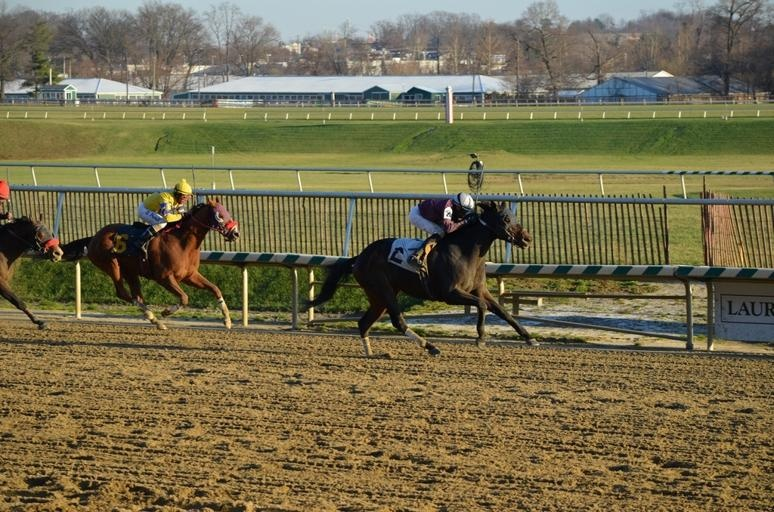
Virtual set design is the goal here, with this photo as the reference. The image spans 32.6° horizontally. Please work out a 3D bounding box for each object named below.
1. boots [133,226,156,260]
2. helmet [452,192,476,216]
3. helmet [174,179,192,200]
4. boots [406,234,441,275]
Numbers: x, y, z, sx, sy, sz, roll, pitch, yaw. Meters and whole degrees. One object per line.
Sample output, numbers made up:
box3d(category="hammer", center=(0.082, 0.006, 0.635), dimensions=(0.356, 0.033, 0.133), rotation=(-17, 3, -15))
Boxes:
box3d(category="boots", center=(-5.104, -0.267, 27.465), dimensions=(0.528, 0.656, 0.206), rotation=(9, -8, 36))
box3d(category="helmet", center=(1.593, -1.053, 26.811), dimensions=(0.397, 0.455, 0.444), rotation=(-1, -25, -18))
box3d(category="helmet", center=(-4.323, -1.423, 27.902), dimensions=(0.384, 0.369, 0.515), rotation=(4, 27, -29))
box3d(category="boots", center=(0.744, -0.046, 26.620), dimensions=(0.864, 0.424, 0.265), rotation=(-36, 4, -27))
